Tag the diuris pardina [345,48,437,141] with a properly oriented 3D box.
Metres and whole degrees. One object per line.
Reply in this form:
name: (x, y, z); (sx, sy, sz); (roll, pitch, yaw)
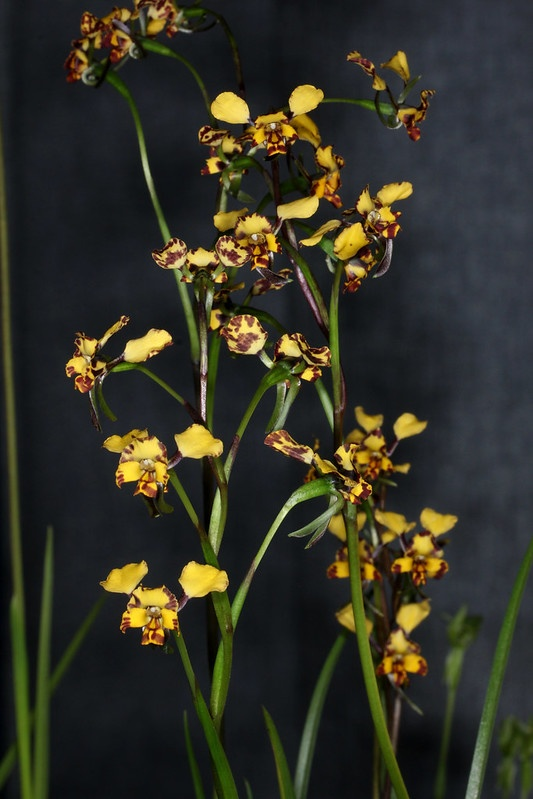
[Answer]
diuris pardina: (0.151, -0.368, 1.241); (0.102, 0.118, 0.047); (-6, -42, -31)
